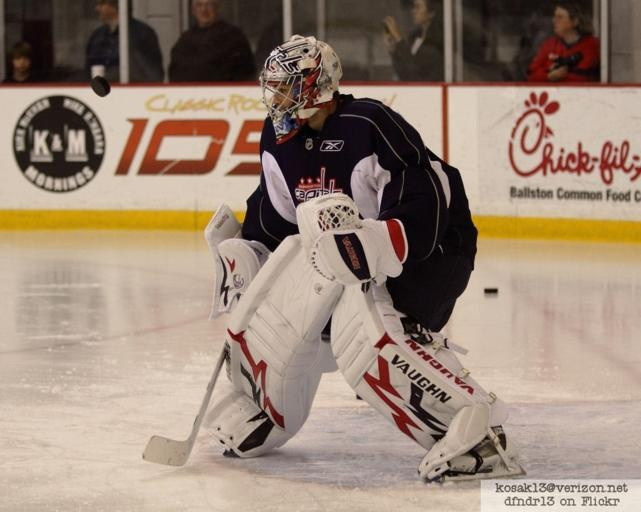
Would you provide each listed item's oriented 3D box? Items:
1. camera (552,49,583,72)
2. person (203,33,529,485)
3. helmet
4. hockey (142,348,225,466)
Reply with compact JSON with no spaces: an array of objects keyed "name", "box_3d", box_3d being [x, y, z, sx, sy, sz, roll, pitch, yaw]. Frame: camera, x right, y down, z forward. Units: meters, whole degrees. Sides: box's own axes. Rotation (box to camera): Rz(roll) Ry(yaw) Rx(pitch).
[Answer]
[{"name":"camera","box_3d":[1.808,-1.416,8.013,0.198,0.124,0.069,2,13,10]},{"name":"person","box_3d":[0.124,-0.016,3.753,1.083,1.429,0.562,2,13,11]},{"name":"helmet","box_3d":[-0.069,-0.599,3.875,0.258,0.334,0.329,11,20,44]},{"name":"hockey","box_3d":[-0.450,0.514,3.782,0.366,0.375,0.132,-9,16,-34]}]
